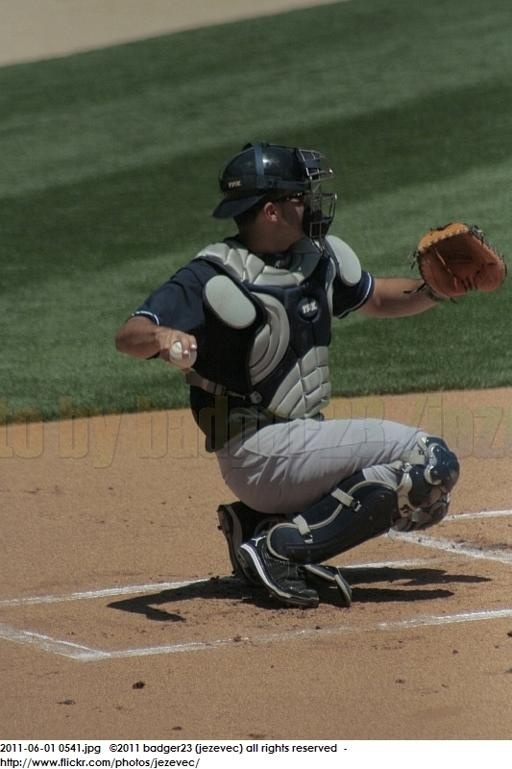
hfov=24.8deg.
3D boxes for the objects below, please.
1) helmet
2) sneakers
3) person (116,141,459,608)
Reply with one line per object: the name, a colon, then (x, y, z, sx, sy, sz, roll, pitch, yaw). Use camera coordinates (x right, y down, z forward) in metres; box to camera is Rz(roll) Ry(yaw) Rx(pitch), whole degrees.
helmet: (0.058, -0.774, 4.170, 0.295, 0.118, 0.236, -9, 14, -16)
sneakers: (0.060, 0.590, 4.237, 0.183, 0.250, 0.552, -33, 45, -22)
person: (0.062, -0.038, 4.076, 1.188, 1.634, 0.647, -5, 10, -30)
